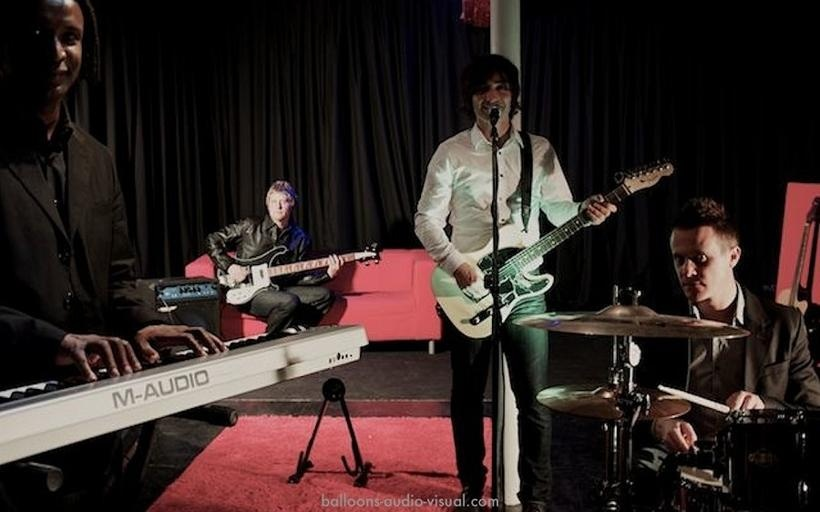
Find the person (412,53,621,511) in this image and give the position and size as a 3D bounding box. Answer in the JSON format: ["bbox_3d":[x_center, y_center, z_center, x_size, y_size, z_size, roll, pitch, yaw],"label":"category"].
[{"bbox_3d":[0.438,0.123,3.791,0.797,2.329,0.768,9,14,41],"label":"person"}]

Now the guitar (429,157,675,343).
[{"bbox_3d":[0.682,0.014,3.959,1.596,0.582,0.160,-34,-8,5],"label":"guitar"}]
